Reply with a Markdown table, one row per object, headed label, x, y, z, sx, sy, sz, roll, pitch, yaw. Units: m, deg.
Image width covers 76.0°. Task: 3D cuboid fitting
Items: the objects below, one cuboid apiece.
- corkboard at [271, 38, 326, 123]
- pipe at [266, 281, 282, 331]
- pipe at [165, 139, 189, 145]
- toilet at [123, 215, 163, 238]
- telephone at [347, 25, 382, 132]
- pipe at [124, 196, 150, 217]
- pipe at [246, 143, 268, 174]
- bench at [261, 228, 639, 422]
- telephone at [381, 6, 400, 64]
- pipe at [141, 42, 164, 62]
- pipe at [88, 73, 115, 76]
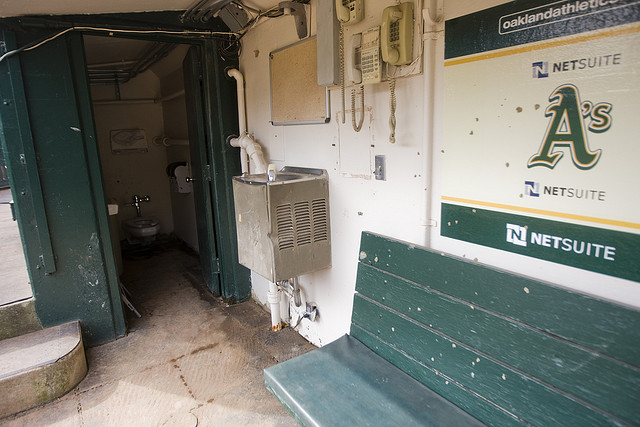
| label | x | y | z | sx | sy | sz | roll | pitch | yaw |
| --- | --- | --- | --- | --- | --- | --- | --- | --- | --- |
| corkboard | -0.174 | -1.050 | 3.257 | 0.040 | 0.624 | 0.895 | -7 | 14 | -32 |
| pipe | -0.397 | 0.780 | 3.633 | 0.131 | 0.477 | 0.125 | -5 | 3 | -16 |
| pipe | -1.978 | -1.000 | 5.666 | 0.115 | 0.080 | 0.862 | -11 | 14 | -32 |
| toilet | -2.628 | 0.211 | 6.114 | 0.547 | 0.348 | 0.657 | -8 | 13 | -21 |
| telephone | 0.272 | -0.858 | 2.637 | 0.162 | 0.618 | 0.347 | -8 | 14 | -19 |
| pipe | -2.816 | -0.120 | 6.276 | 0.295 | 0.270 | 0.060 | -8 | 13 | -37 |
| pipe | -0.557 | -0.498 | 3.632 | 0.172 | 0.256 | 0.394 | -5 | 12 | -8 |
| bench | 0.715 | 0.597 | 2.221 | 0.631 | 0.545 | 1.230 | -18 | 17 | -39 |
| telephone | 0.414 | -1.055 | 2.405 | 0.110 | 0.321 | 0.076 | -1 | 13 | 9 |
| pipe | -1.985 | -1.916 | 4.834 | 0.058 | 0.069 | 0.723 | -12 | 15 | -35 |
| pipe | -2.908 | -1.870 | 5.481 | 0.310 | 0.037 | 0.108 | -11 | 14 | -33 |
